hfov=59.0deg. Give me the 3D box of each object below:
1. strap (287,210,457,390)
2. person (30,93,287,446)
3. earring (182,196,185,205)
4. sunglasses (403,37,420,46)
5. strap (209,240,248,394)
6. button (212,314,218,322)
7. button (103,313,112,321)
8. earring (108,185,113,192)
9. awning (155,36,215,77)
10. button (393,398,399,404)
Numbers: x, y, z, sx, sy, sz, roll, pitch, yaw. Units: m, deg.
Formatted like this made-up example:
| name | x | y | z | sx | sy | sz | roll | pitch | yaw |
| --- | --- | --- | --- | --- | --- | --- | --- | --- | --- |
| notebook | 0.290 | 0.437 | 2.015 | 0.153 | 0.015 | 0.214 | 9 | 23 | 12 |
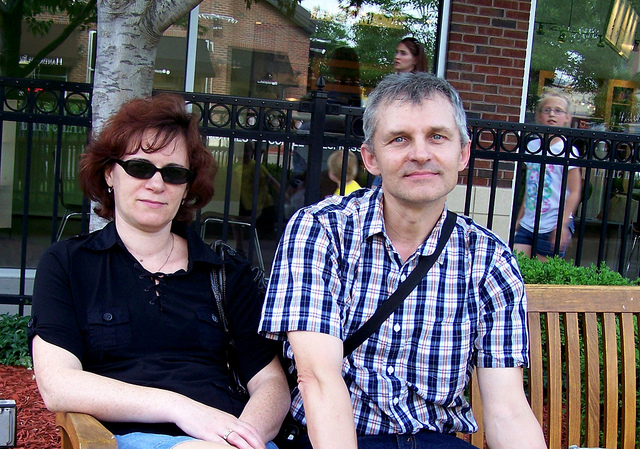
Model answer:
| name | x | y | z | sx | sy | sz | roll | pitch | yaw |
| --- | --- | --- | --- | --- | --- | --- | --- | --- | --- |
| strap | 0.240 | 0.380 | 2.660 | 1.053 | 0.113 | 0.155 | -42 | -20 | 0 |
| person | -0.778 | 0.186 | 2.809 | 1.182 | 1.706 | 0.771 | 1 | 2 | -2 |
| earring | -0.741 | -0.113 | 3.087 | 0.016 | 0.016 | 0.016 | -2 | 18 | -28 |
| sunglasses | 1.030 | -1.970 | 6.189 | 0.117 | 0.031 | 0.118 | 39 | 11 | 15 |
| strap | -0.500 | 0.540 | 2.942 | 0.295 | 0.555 | 0.140 | -2 | -2 | 24 |
| button | -0.537 | 0.480 | 2.901 | 0.007 | 0.032 | 0.031 | -22 | -6 | 37 |
| button | -1.026 | 0.448 | 2.739 | 0.040 | 0.030 | 0.010 | 1 | 2 | -24 |
| earring | -1.112 | -0.185 | 3.017 | 0.022 | 0.023 | 0.006 | 2 | 24 | 25 |
| awning | -1.544 | -1.911 | 6.540 | 0.657 | 0.428 | 0.076 | 1 | 2 | -19 |
| button | 0.357 | 0.829 | 2.668 | 0.023 | 0.027 | 0.006 | 0 | -3 | -3 |
